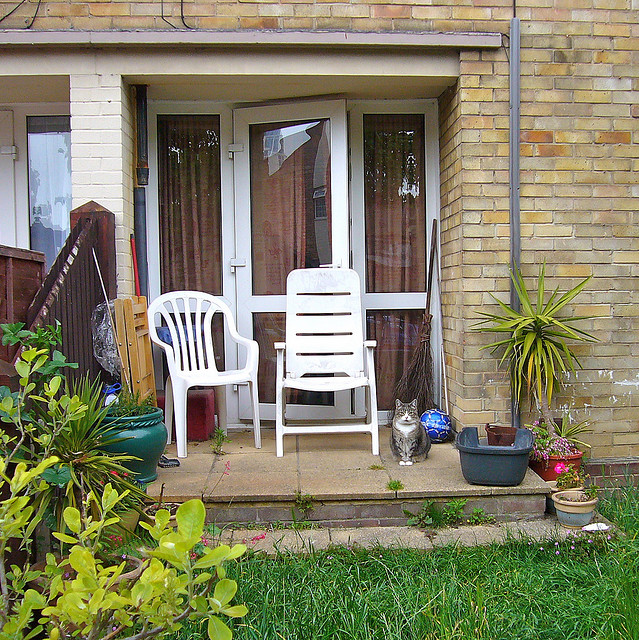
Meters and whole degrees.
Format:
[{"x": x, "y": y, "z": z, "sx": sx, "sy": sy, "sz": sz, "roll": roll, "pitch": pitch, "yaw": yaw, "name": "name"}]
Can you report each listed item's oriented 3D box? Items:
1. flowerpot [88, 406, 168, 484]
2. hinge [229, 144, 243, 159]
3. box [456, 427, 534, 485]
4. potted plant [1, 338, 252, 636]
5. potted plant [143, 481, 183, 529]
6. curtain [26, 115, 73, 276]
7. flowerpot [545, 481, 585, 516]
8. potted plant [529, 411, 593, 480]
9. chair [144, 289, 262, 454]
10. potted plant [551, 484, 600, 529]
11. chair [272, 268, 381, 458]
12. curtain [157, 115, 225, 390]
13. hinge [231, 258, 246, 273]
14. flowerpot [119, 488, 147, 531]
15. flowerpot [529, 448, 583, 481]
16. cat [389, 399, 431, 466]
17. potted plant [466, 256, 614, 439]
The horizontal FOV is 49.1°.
[{"x": -0.892, "y": 0.551, "z": 3.265, "sx": 0.279, "sy": 0.369, "sz": 0.321, "roll": -6, "pitch": 6, "yaw": -33, "name": "flowerpot"}, {"x": -0.553, "y": -1.123, "z": 4.642, "sx": 0.079, "sy": 0.095, "sz": 0.021, "roll": 1, "pitch": 6, "yaw": 4, "name": "hinge"}, {"x": 0.881, "y": 0.690, "z": 3.526, "sx": 0.375, "sy": 0.246, "sz": 0.352, "roll": 2, "pitch": 3, "yaw": 18, "name": "box"}, {"x": -0.704, "y": 0.575, "z": 2.513, "sx": 0.644, "sy": 1.310, "sz": 0.783, "roll": -4, "pitch": -8, "yaw": 25, "name": "potted plant"}, {"x": -0.608, "y": 0.729, "z": 2.728, "sx": 0.149, "sy": 0.188, "sz": 0.169, "roll": -2, "pitch": -5, "yaw": -32, "name": "potted plant"}, {"x": -1.854, "y": -0.875, "z": 4.797, "sx": 0.295, "sy": 1.057, "sz": 0.083, "roll": 1, "pitch": 3, "yaw": 6, "name": "curtain"}, {"x": 1.202, "y": 0.917, "z": 3.485, "sx": 0.156, "sy": 0.117, "sz": 0.174, "roll": -1, "pitch": -2, "yaw": -1, "name": "flowerpot"}, {"x": 1.317, "y": 0.696, "z": 3.802, "sx": 0.234, "sy": 0.340, "sz": 0.287, "roll": 9, "pitch": 0, "yaw": 17, "name": "potted plant"}, {"x": -0.699, "y": 0.285, "z": 4.223, "sx": 0.534, "sy": 0.987, "sz": 0.637, "roll": -2, "pitch": 2, "yaw": -27, "name": "chair"}, {"x": 1.222, "y": 0.893, "z": 3.340, "sx": 0.201, "sy": 0.179, "sz": 0.182, "roll": 1, "pitch": 3, "yaw": 9, "name": "potted plant"}, {"x": 0.063, "y": 0.229, "z": 4.307, "sx": 0.641, "sy": 1.100, "sz": 0.841, "roll": 1, "pitch": 3, "yaw": 2, "name": "chair"}, {"x": -0.869, "y": -0.772, "z": 4.698, "sx": 0.428, "sy": 1.215, "sz": 0.112, "roll": 0, "pitch": 3, "yaw": -14, "name": "curtain"}, {"x": -0.541, "y": -0.367, "z": 4.678, "sx": 0.078, "sy": 0.085, "sz": 0.028, "roll": 0, "pitch": 1, "yaw": 1, "name": "hinge"}, {"x": -0.748, "y": 0.767, "z": 2.804, "sx": 0.100, "sy": 0.103, "sz": 0.120, "roll": 3, "pitch": 0, "yaw": -5, "name": "flowerpot"}, {"x": 1.282, "y": 0.778, "z": 3.727, "sx": 0.277, "sy": 0.151, "sz": 0.180, "roll": 0, "pitch": 3, "yaw": -13, "name": "flowerpot"}, {"x": 0.490, "y": 0.633, "z": 3.816, "sx": 0.185, "sy": 0.385, "sz": 0.319, "roll": -1, "pitch": -4, "yaw": 5, "name": "cat"}, {"x": 1.206, "y": 0.142, "z": 3.891, "sx": 0.700, "sy": 0.992, "sz": 0.549, "roll": 0, "pitch": 3, "yaw": 0, "name": "potted plant"}]
